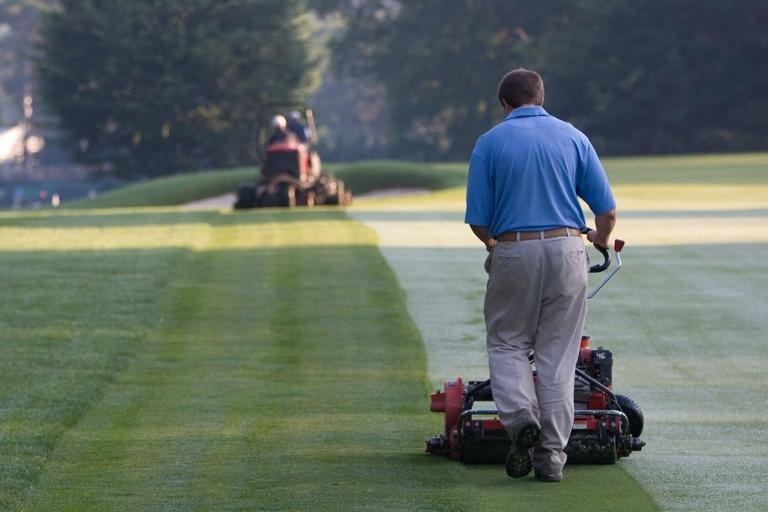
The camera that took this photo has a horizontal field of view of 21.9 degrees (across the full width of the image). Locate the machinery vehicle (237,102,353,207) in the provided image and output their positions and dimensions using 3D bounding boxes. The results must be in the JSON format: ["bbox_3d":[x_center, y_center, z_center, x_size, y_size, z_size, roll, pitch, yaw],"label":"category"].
[{"bbox_3d":[-1.917,-2.002,41.339,2.311,1.985,1.439,-2,9,-4],"label":"machinery vehicle"}]

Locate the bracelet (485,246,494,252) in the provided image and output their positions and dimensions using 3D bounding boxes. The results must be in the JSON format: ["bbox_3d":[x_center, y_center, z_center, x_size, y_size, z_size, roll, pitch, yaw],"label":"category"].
[{"bbox_3d":[1.624,-0.100,30.383,0.098,0.096,0.031,-2,-7,22],"label":"bracelet"}]
